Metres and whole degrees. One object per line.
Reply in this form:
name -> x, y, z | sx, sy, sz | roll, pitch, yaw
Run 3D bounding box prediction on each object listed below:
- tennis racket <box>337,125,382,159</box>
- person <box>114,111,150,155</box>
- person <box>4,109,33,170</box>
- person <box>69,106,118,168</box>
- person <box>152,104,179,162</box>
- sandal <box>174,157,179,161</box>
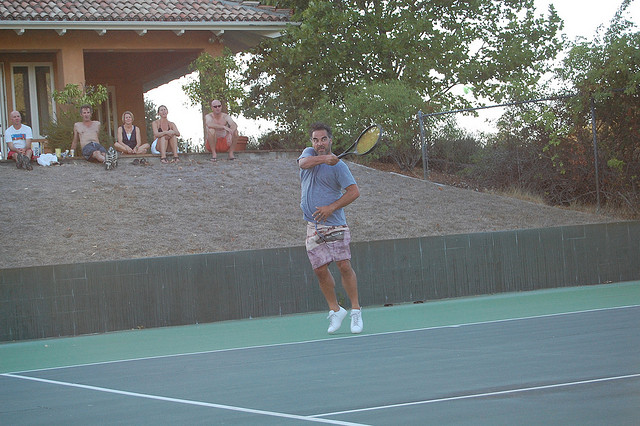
tennis racket -> 0.596, -0.972, 8.618 | 0.127, 0.343, 0.908 | 39, 48, 18
person -> -5.165, -2.165, 16.305 | 0.955, 1.151, 0.718 | -1, 12, -11
person -> -7.635, -1.833, 15.063 | 0.578, 1.612, 1.249 | -3, -1, -27
person -> -5.841, -1.911, 15.277 | 1.411, 1.645, 0.761 | -5, -2, 40
person -> -4.152, -2.081, 15.908 | 0.695, 1.059, 1.317 | -4, -1, -15
sandal -> -3.866, -1.447, 15.895 | 0.106, 0.076, 0.105 | 3, -5, -20
